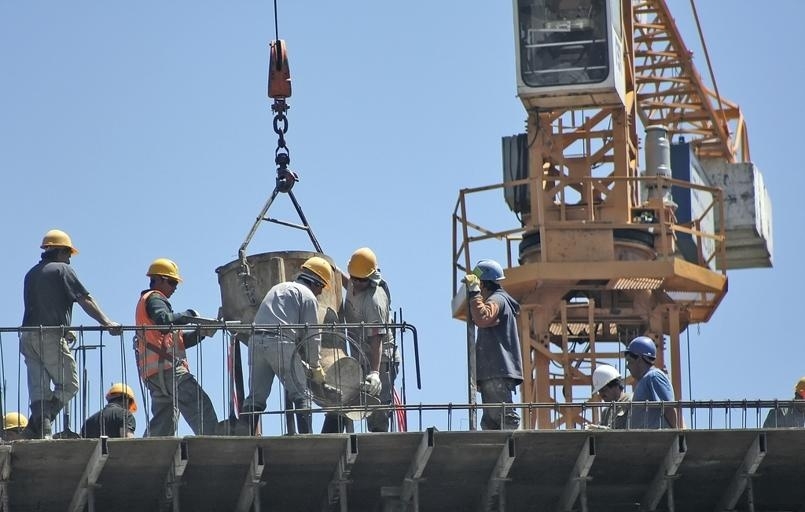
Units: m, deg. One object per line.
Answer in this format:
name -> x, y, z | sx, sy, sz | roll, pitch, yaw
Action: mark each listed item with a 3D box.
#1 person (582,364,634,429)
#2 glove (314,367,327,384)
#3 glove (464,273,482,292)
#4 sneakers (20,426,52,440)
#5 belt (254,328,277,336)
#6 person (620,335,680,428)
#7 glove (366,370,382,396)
person -> 4.335, 3.174, 54.933 | 0.946, 1.591, 0.909 | 14, -5, 20
glove -> -1.730, 2.483, 53.420 | 0.217, 0.339, 0.341 | 0, -13, 3
glove -> 1.391, 0.588, 54.498 | 0.328, 0.450, 0.229 | 0, -3, -43
sneakers -> -7.486, 3.648, 52.945 | 0.578, 0.275, 0.276 | -1, -13, 0
belt -> -2.853, 1.588, 53.487 | 0.470, 0.170, 0.061 | -6, -14, 21
person -> 5.141, 3.210, 54.429 | 1.016, 2.985, 1.336 | -3, 8, -29
glove -> -0.602, 2.657, 53.615 | 0.181, 0.435, 0.323 | -17, -22, 9
